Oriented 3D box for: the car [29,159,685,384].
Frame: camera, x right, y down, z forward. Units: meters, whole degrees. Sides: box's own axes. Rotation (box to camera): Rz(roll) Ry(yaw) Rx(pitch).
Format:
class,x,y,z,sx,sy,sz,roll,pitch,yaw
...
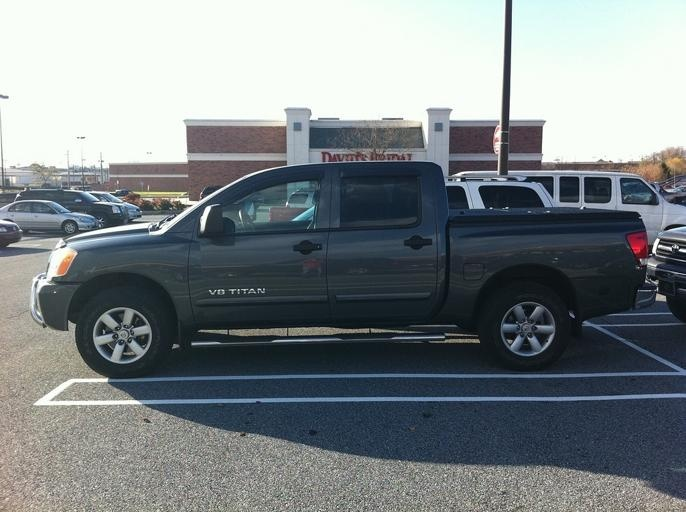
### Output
class,x,y,z,sx,sy,sz,roll,pitch,yaw
car,0.013,0.134,7.426,6.406,2.028,2.776,1,0,-2
